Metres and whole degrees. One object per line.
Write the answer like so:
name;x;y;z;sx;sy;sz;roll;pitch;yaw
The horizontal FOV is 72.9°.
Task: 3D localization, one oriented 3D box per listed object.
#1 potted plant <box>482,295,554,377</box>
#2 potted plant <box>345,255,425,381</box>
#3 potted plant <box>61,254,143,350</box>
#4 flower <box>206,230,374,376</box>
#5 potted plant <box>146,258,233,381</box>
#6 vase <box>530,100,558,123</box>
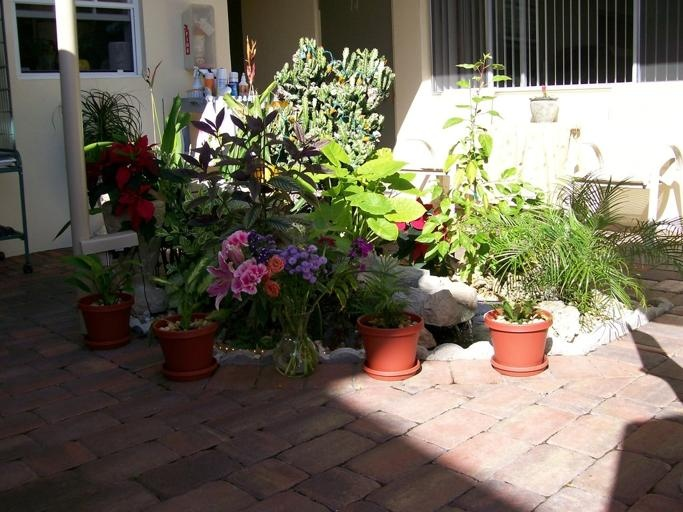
potted plant;0.964;0.430;2.500;0.386;0.356;0.377;4;6;9
potted plant;0.249;0.313;2.486;0.373;0.607;0.357;-7;3;-13
potted plant;-1.508;0.272;3.033;0.628;0.670;0.575;-1;1;-10
flower;-0.325;0.240;2.567;0.832;0.698;0.807;4;-15;-19
potted plant;-0.825;0.351;2.557;0.365;0.580;0.372;-5;-6;22
vase;1.895;-1.353;4.313;0.235;0.233;0.242;3;13;24
